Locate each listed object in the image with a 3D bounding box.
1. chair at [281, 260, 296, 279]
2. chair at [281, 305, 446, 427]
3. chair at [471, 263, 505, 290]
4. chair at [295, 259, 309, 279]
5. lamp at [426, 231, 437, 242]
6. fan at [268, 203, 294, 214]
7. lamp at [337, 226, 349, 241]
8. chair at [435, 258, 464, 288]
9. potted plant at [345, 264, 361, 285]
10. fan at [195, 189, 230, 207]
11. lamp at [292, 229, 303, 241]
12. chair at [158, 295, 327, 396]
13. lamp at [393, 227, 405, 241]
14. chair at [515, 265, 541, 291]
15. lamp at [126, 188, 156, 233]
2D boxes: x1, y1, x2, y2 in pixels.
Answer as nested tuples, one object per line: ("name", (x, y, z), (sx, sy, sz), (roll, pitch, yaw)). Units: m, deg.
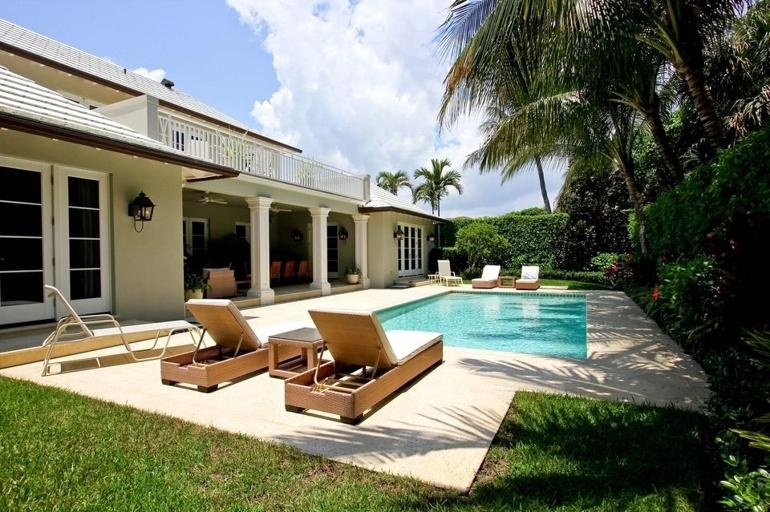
("chair", (-3.697, 0.524, 19.134), (0.549, 0.871, 0.592), (0, 1, 35))
("chair", (-0.176, 1.418, 7.696), (1.019, 1.346, 2.966), (1, 6, 24))
("chair", (4.142, 0.849, 19.705), (0.665, 0.845, 1.301), (-2, -3, 25))
("chair", (-3.374, 0.548, 19.991), (0.404, 0.710, 1.241), (-2, -1, 0))
("lamp", (2.414, -1.017, 25.306), (0.461, 0.829, 0.483), (0, -5, -5))
("fan", (-4.027, -1.846, 18.633), (0.645, 0.278, 0.655), (-4, -1, 43))
("lamp", (-1.851, -1.005, 21.221), (0.393, 0.618, 0.537), (-2, 0, -38))
("chair", (2.846, 0.765, 21.992), (0.769, 1.041, 1.453), (-1, 0, -16))
("potted plant", (-1.309, 0.746, 19.897), (0.658, 0.743, 0.692), (0, -5, -3))
("fan", (-5.720, -1.851, 16.077), (0.742, 0.390, 4.061), (-2, -1, -21))
("lamp", (-3.779, -0.936, 21.093), (0.379, 0.523, 0.449), (1, 7, 3))
("chair", (-2.597, 1.284, 8.097), (1.234, 1.083, 2.366), (1, 4, 26))
("lamp", (0.551, -0.976, 20.984), (0.513, 0.745, 0.530), (0, -5, -6))
("chair", (5.568, 0.872, 19.012), (0.703, 0.844, 1.199), (-3, -5, 23))
("lamp", (-5.373, -0.953, 10.648), (0.485, 0.838, 0.366), (-2, 0, -30))
